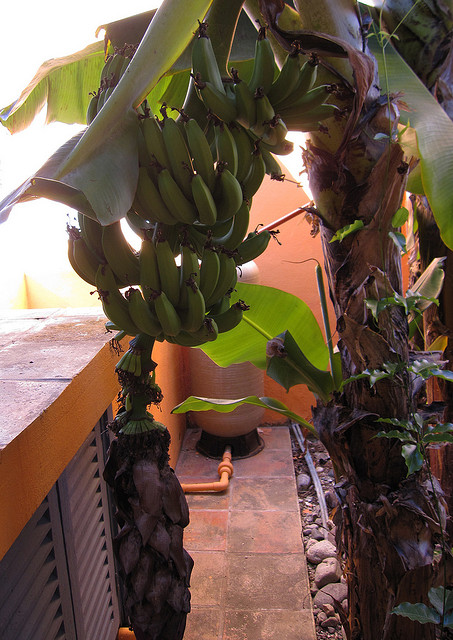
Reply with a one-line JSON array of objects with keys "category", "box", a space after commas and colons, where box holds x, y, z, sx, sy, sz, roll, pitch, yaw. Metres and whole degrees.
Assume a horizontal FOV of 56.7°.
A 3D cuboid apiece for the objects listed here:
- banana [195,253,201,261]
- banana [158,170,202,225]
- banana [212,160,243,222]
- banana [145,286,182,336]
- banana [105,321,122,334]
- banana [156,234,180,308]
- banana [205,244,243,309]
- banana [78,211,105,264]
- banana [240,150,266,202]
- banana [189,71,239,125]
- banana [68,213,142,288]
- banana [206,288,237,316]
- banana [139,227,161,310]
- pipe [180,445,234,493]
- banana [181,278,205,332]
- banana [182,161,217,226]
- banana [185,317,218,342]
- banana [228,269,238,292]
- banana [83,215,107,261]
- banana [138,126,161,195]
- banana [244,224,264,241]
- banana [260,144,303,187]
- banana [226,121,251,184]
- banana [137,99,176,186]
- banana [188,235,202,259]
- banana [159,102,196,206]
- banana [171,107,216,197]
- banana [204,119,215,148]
[{"category": "banana", "box": [-0.055, -0.123, 0.820, 0.012, 0.008, 0.043, 12, 13, -10]}, {"category": "banana", "box": [-0.064, -0.179, 0.662, 0.029, 0.040, 0.111, 18, -32, 43]}, {"category": "banana", "box": [0.001, -0.198, 0.664, 0.032, 0.047, 0.106, -1, -58, -2]}, {"category": "banana", "box": [-0.096, -0.011, 0.667, 0.034, 0.097, 0.049, -19, 24, -4]}, {"category": "banana", "box": [-0.253, 0.018, 0.941, 0.022, 0.018, 0.080, 12, -16, -1]}, {"category": "banana", "box": [-0.077, -0.079, 0.667, 0.025, 0.040, 0.112, -3, -50, 9]}, {"category": "banana", "box": [-0.011, -0.068, 0.768, 0.040, 0.047, 0.131, 18, -46, 0]}, {"category": "banana", "box": [-0.217, -0.133, 0.674, 0.032, 0.091, 0.013, -20, 18, -29]}, {"category": "banana", "box": [0.045, -0.251, 0.758, 0.025, 0.038, 0.096, 21, -41, 5]}, {"category": "banana", "box": [-0.009, -0.332, 0.622, 0.028, 0.045, 0.104, 28, 22, 38]}, {"category": "banana", "box": [-0.186, -0.127, 0.713, 0.141, 0.139, 0.044, 32, 42, 29]}, {"category": "banana", "box": [0.001, -0.035, 0.845, 0.026, 0.035, 0.093, -11, 6, 37]}, {"category": "banana", "box": [-0.122, -0.086, 0.695, 0.027, 0.130, 0.025, 10, 28, 28]}, {"category": "pipe", "box": [-0.151, 1.149, 3.282, 0.404, 0.107, 0.449, -4, 29, 9]}, {"category": "banana", "box": [-0.056, -0.024, 0.664, 0.036, 0.022, 0.076, 7, -49, 4]}, {"category": "banana", "box": [-0.033, -0.178, 0.629, 0.033, 0.043, 0.100, -17, -55, -2]}, {"category": "banana", "box": [-0.047, 0.017, 0.723, 0.041, 0.017, 0.042, 15, -46, -17]}, {"category": "banana", "box": [0.018, -0.079, 0.820, 0.010, 0.057, 0.022, 9, -48, 9]}, {"category": "banana", "box": [-0.210, -0.134, 0.669, 0.019, 0.075, 0.030, -21, 7, 9]}, {"category": "banana", "box": [-0.109, -0.240, 0.646, 0.020, 0.018, 0.108, -2, -39, 10]}, {"category": "banana", "box": [0.055, -0.178, 0.868, 0.014, 0.056, 0.015, 39, -5, -4]}, {"category": "banana", "box": [0.097, -0.307, 0.807, 0.036, 0.218, 0.036, -23, -58, 4]}, {"category": "banana", "box": [0.029, -0.280, 0.717, 0.023, 0.102, 0.036, 5, 22, 39]}, {"category": "banana", "box": [-0.100, -0.243, 0.659, 0.028, 0.031, 0.180, -21, -43, -14]}, {"category": "banana", "box": [-0.055, -0.128, 0.749, 0.008, 0.057, 0.008, -17, -1, 34]}, {"category": "banana", "box": [-0.071, -0.242, 0.615, 0.034, 0.173, 0.030, -20, 32, -13]}, {"category": "banana", "box": [-0.038, -0.253, 0.626, 0.036, 0.030, 0.182, -15, -40, 4]}, {"category": "banana", "box": [-0.028, -0.339, 0.773, 0.015, 0.072, 0.025, -2, -8, 9]}]
